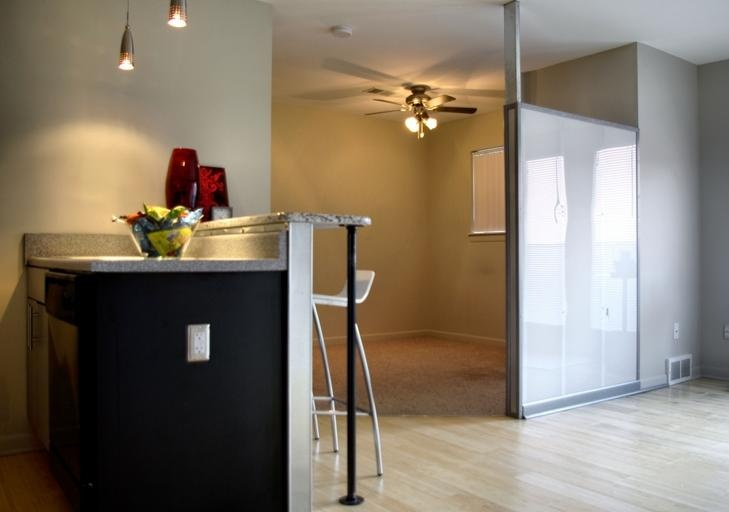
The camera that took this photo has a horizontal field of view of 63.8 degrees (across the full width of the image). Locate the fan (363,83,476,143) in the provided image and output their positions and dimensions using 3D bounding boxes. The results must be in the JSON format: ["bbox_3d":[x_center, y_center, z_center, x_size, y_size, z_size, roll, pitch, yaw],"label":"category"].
[{"bbox_3d":[0.591,-1.590,6.242,0.876,0.388,0.836,2,-2,-12],"label":"fan"}]

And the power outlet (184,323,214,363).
[{"bbox_3d":[-0.749,0.389,2.622,0.015,0.162,0.117,-6,-8,39],"label":"power outlet"}]

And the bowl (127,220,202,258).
[{"bbox_3d":[-0.995,-0.082,3.042,0.335,0.161,0.334,-13,-6,-1],"label":"bowl"}]

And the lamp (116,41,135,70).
[{"bbox_3d":[-1.389,-1.146,3.396,0.066,0.118,0.174,-2,4,-26],"label":"lamp"}]

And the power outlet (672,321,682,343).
[{"bbox_3d":[2.983,0.719,5.584,0.200,0.284,0.015,2,0,-40],"label":"power outlet"}]
